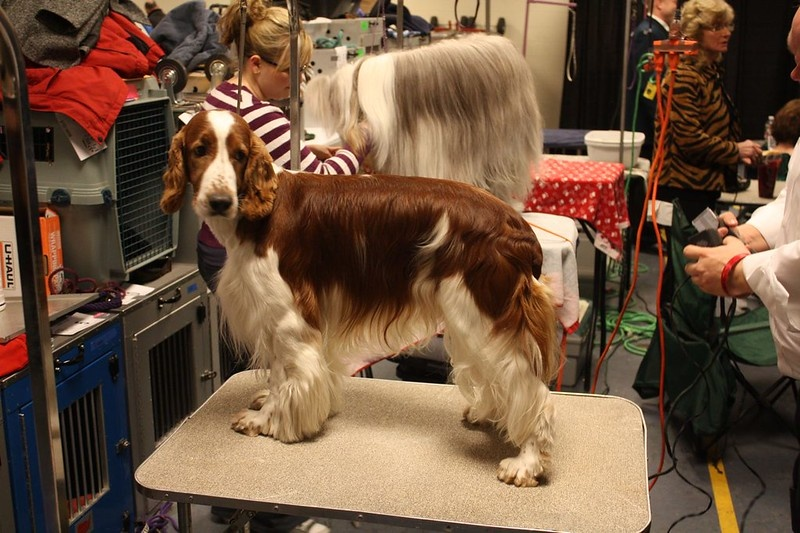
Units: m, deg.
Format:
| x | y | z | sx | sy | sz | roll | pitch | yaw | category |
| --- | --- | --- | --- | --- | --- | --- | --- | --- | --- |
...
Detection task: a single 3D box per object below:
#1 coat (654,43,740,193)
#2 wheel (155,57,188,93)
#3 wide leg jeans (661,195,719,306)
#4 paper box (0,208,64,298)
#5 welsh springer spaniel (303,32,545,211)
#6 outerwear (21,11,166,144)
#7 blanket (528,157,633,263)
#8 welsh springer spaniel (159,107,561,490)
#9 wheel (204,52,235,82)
| x | y | z | sx | sy | sz | roll | pitch | yaw | category |
| --- | --- | --- | --- | --- | --- | --- | --- | --- | --- |
| 2.364 | -1.124 | 5.563 | 0.544 | 0.909 | 0.833 | 9 | 28 | 34 | coat |
| -1.222 | -0.972 | 3.749 | 0.171 | 0.187 | 0.054 | 11 | -13 | -13 | wheel |
| 2.218 | -0.168 | 5.537 | 0.238 | 0.846 | 0.802 | 5 | 6 | 18 | wide leg jeans |
| -1.652 | -0.067 | 3.203 | 0.247 | 0.384 | 0.193 | -4 | 13 | -24 | paper box |
| 0.097 | -0.469 | 2.864 | 0.994 | 0.780 | 0.467 | -4 | -3 | -10 | welsh springer spaniel |
| -1.328 | -0.887 | 3.281 | 0.516 | 0.233 | 0.693 | 31 | 51 | 12 | outerwear |
| 1.021 | -0.418 | 4.000 | 0.577 | 0.354 | 0.616 | 8 | 15 | 16 | blanket |
| -0.109 | 0.051 | 2.445 | 1.234 | 1.111 | 0.598 | 3 | 11 | 7 | welsh springer spaniel |
| -1.033 | -1.154 | 4.161 | 0.182 | 0.200 | 0.076 | 7 | -6 | 29 | wheel |
